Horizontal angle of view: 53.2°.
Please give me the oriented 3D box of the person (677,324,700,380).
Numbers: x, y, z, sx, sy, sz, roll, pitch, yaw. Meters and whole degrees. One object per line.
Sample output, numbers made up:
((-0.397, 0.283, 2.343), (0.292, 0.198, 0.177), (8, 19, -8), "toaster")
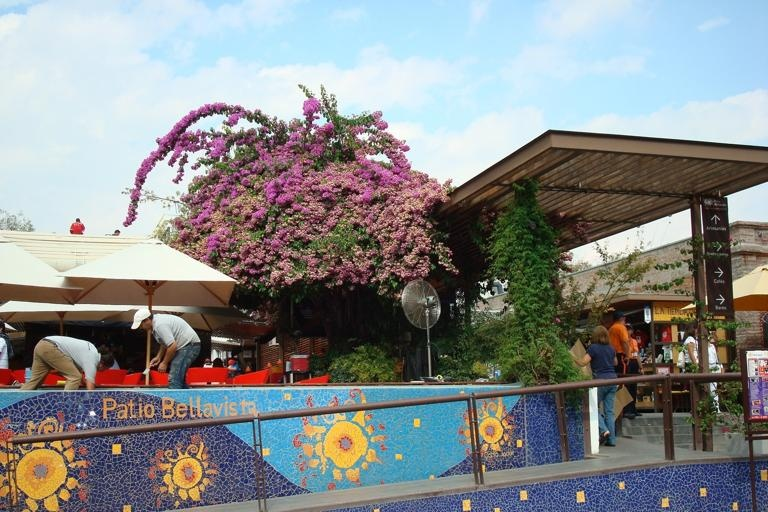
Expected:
((6.939, 2.142, 17.538), (0.386, 1.088, 1.819), (-6, -13, 20), "person")

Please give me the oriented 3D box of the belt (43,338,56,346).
((-6.445, 1.646, 14.739), (0.254, 0.195, 0.176), (-8, -13, 24), "belt")

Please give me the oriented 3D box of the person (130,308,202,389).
((-4.369, 1.888, 15.546), (1.178, 1.665, 0.747), (-6, -13, 20), "person")

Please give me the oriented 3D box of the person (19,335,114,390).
((-6.288, 2.186, 15.085), (1.712, 1.454, 0.771), (6, 15, -11), "person")

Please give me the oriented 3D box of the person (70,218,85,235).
((-9.351, -0.906, 23.380), (0.348, 0.688, 1.008), (4, -14, -24), "person")

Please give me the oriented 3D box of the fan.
((0.897, 1.639, 18.701), (0.892, 2.266, 0.511), (-2, -12, 1), "fan")

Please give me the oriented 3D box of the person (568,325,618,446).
((4.596, 2.782, 16.451), (0.759, 2.519, 1.014), (-5, -12, 16), "person")

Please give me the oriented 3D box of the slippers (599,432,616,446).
((4.626, 3.799, 15.935), (0.165, 0.224, 0.506), (0, -2, 5), "slippers")
